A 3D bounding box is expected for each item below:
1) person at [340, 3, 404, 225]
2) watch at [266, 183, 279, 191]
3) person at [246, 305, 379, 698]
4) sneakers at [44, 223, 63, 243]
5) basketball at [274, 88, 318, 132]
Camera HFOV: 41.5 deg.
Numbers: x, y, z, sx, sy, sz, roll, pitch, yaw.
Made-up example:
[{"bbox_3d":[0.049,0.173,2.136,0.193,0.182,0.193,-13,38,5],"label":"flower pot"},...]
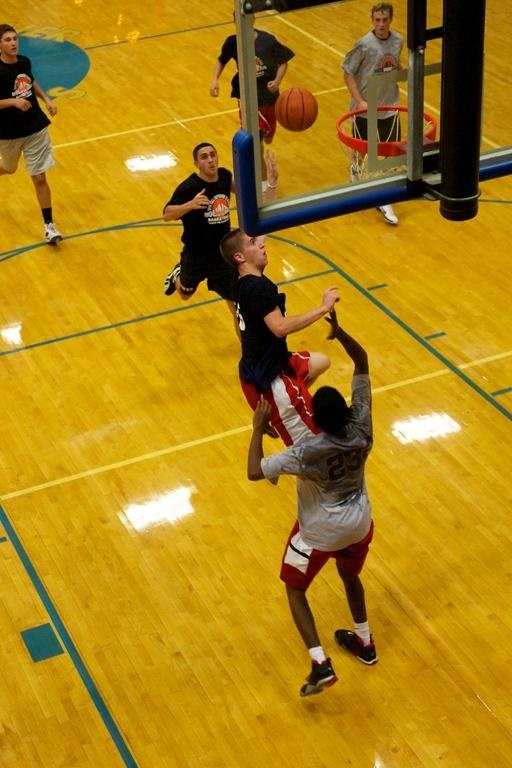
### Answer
[{"bbox_3d":[0.465,-1.235,2.776,0.267,0.576,0.986,3,30,10],"label":"person"},{"bbox_3d":[0.055,-0.672,2.312,0.027,0.020,0.024,-20,5,-5],"label":"watch"},{"bbox_3d":[0.279,0.573,2.799,0.497,1.636,0.753,12,34,23],"label":"person"},{"bbox_3d":[-2.115,-1.557,6.956,0.117,0.133,0.264,-32,40,-17],"label":"sneakers"},{"bbox_3d":[0.147,-0.998,2.544,0.190,0.182,0.185,3,9,4],"label":"basketball"}]
